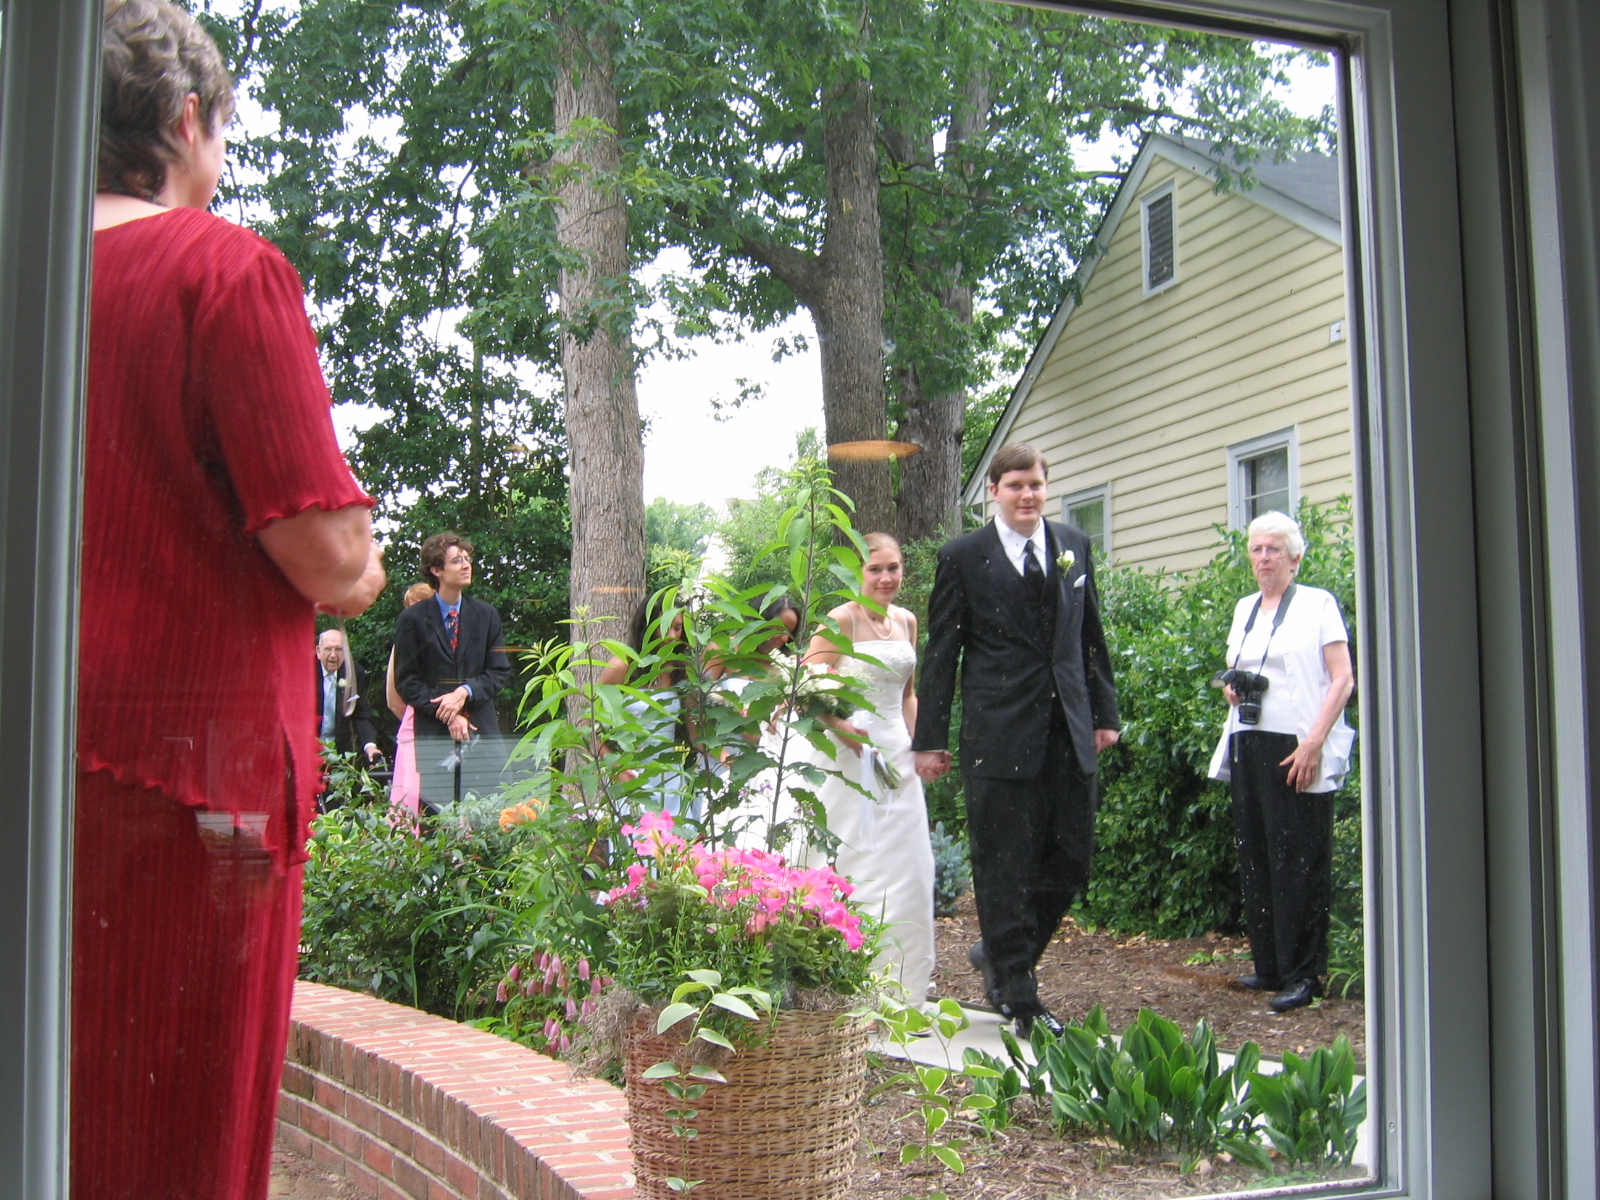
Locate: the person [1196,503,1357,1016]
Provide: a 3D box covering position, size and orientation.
[{"bbox_3d":[0.911,0.306,3.026,0.262,0.924,0.113,-2,-7,17],"label":"person"}]

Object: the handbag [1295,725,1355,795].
[{"bbox_3d":[0.996,0.301,3.000,0.096,0.095,0.079,9,10,-25],"label":"handbag"}]

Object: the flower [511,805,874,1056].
[{"bbox_3d":[-0.211,0.555,2.678,0.657,0.414,0.303,-6,-9,31],"label":"flower"}]

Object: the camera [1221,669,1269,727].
[{"bbox_3d":[0.865,0.188,3.103,0.078,0.098,0.050,5,-11,-4],"label":"camera"}]

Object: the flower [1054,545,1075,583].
[{"bbox_3d":[0.511,-0.071,3.070,0.032,0.053,0.017,-4,11,3],"label":"flower"}]

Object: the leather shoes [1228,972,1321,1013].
[{"bbox_3d":[0.884,0.727,2.989,0.152,0.080,0.054,-10,0,21],"label":"leather shoes"}]
